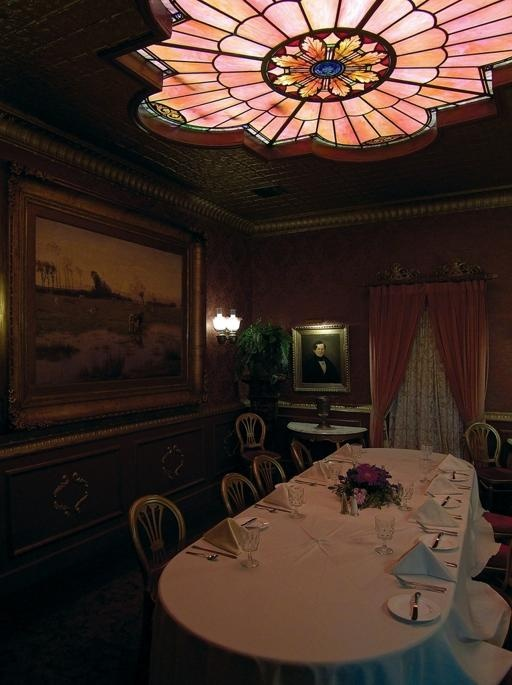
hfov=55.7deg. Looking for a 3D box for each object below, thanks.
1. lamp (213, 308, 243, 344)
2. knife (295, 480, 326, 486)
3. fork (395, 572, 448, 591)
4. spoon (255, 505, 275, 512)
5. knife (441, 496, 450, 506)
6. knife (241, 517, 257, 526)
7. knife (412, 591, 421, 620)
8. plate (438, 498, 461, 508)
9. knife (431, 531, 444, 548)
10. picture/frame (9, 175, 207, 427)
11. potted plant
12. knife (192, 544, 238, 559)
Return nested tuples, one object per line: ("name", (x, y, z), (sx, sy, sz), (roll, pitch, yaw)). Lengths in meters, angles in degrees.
("lamp", (-0.379, -0.203, 6.208), (0.469, 0.469, 0.174), (-4, 6, -39))
("knife", (0.387, 1.028, 3.500), (0.264, 0.021, 0.072), (-2, 9, 12))
("fork", (0.674, 0.985, 1.971), (0.153, 0.022, 0.027), (-4, -6, 27))
("spoon", (0.058, 1.006, 2.906), (0.123, 0.014, 0.036), (7, -4, -26))
("knife", (1.208, 1.023, 3.082), (0.033, 0.013, 0.276), (-3, -4, 27))
("knife", (-0.040, 0.981, 2.622), (0.050, 0.016, 0.054), (8, -2, 23))
("knife", (0.567, 0.944, 1.715), (0.018, 0.076, 0.076), (5, 14, 10))
("plate", (1.229, 1.023, 3.043), (0.077, 0.019, 0.061), (2, 1, -12))
("knife", (0.893, 0.959, 2.391), (0.037, 0.013, 0.286), (-3, -4, 27))
("picture/frame", (-1.373, -0.379, 4.382), (0.184, 1.959, 2.625), (-4, -5, 25))
("potted plant", (0.123, 0.264, 6.500), (0.978, 1.422, 0.925), (0, -2, 3))
("knife", (-0.185, 0.971, 2.225), (0.196, 0.009, 0.033), (3, 6, 22))
